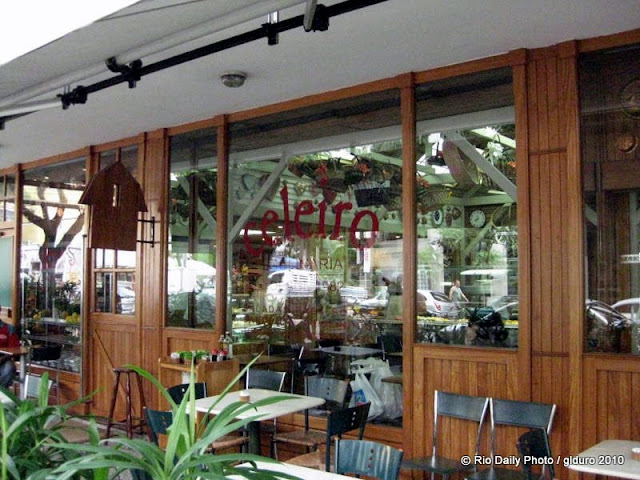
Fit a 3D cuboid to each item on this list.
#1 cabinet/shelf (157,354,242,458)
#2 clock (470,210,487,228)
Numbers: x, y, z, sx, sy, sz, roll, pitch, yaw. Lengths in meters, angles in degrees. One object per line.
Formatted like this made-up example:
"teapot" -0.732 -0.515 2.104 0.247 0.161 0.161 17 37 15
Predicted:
"cabinet/shelf" -1.442 1.848 6.115 0.639 1.188 0.535 8 -3 5
"clock" 1.440 -0.174 5.001 0.032 0.140 0.137 7 -14 -37
